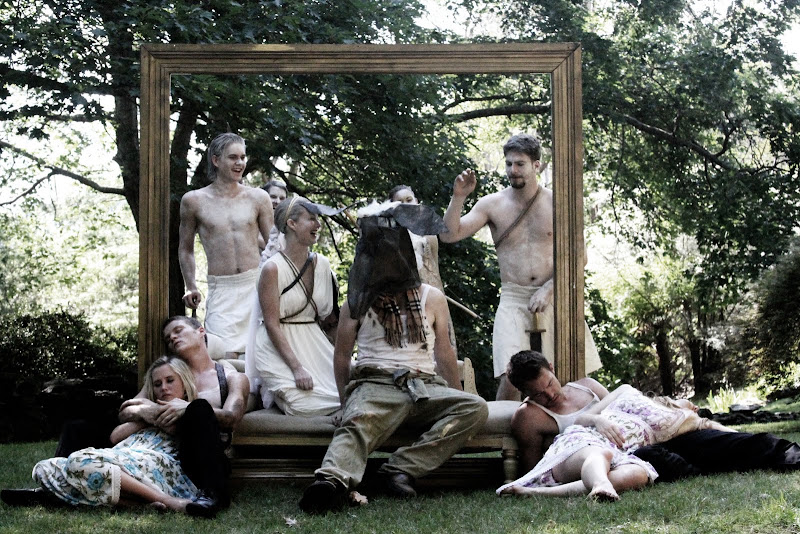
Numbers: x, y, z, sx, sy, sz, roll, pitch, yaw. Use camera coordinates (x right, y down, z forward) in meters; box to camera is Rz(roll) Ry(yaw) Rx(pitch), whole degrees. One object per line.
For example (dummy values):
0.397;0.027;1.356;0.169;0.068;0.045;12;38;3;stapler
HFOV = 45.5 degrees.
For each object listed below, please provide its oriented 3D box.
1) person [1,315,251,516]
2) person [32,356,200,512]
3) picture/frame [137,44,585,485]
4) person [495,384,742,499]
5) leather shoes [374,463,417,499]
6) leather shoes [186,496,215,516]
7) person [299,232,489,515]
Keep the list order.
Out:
-2.000;1.191;7.049;1.428;1.400;1.056;-17;-36;26;person
-2.007;1.195;7.063;1.302;1.247;0.909;-3;-19;38;person
-0.275;0.019;7.943;3.990;4.082;0.164;0;-3;4;picture/frame
1.525;1.294;6.964;0.795;0.423;1.303;10;18;39;person
-0.040;1.639;7.038;0.273;0.111;0.211;14;35;14;leather shoes
-1.361;1.656;6.573;0.202;0.101;0.166;0;-4;16;leather shoes
-0.091;0.730;7.164;1.391;2.035;0.562;3;-4;-27;person
